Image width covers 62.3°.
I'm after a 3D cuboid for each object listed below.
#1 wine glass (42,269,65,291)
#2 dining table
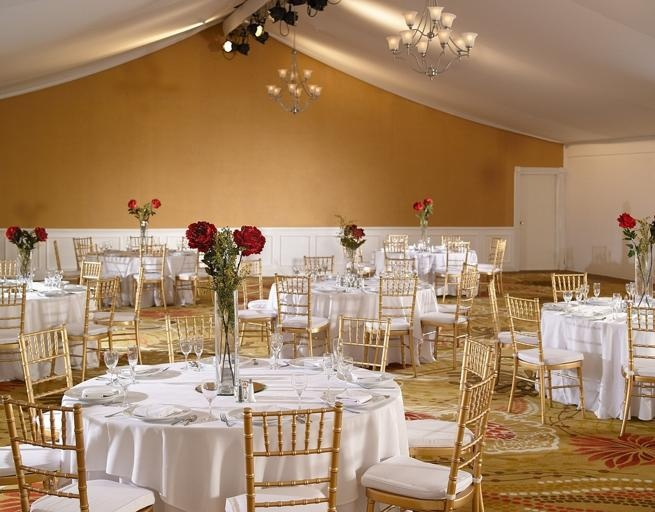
[{"bbox_3d":[-3.360,0.306,6.691,0.248,0.287,0.272,1,-3,13],"label":"wine glass"},{"bbox_3d":[2.552,0.952,5.192,0.864,0.707,0.907,1,0,-17],"label":"dining table"}]
